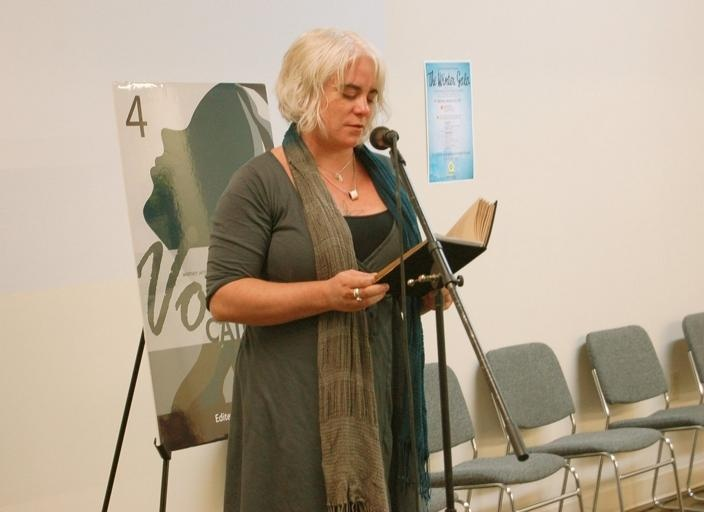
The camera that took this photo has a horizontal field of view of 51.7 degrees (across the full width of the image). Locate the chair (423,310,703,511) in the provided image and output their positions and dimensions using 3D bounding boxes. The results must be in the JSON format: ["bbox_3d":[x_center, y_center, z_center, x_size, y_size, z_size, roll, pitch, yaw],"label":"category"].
[{"bbox_3d":[1.368,0.985,4.136,1.935,1.136,0.660,1,-11,-31],"label":"chair"}]

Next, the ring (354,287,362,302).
[{"bbox_3d":[0.019,0.125,2.357,0.030,0.033,0.028,29,-3,2],"label":"ring"}]

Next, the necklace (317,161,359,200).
[{"bbox_3d":[-0.039,-0.270,2.558,0.127,0.142,0.037,-16,-6,-36],"label":"necklace"}]

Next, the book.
[{"bbox_3d":[0.283,-0.015,2.401,0.374,0.139,0.281,-32,-13,11],"label":"book"}]
